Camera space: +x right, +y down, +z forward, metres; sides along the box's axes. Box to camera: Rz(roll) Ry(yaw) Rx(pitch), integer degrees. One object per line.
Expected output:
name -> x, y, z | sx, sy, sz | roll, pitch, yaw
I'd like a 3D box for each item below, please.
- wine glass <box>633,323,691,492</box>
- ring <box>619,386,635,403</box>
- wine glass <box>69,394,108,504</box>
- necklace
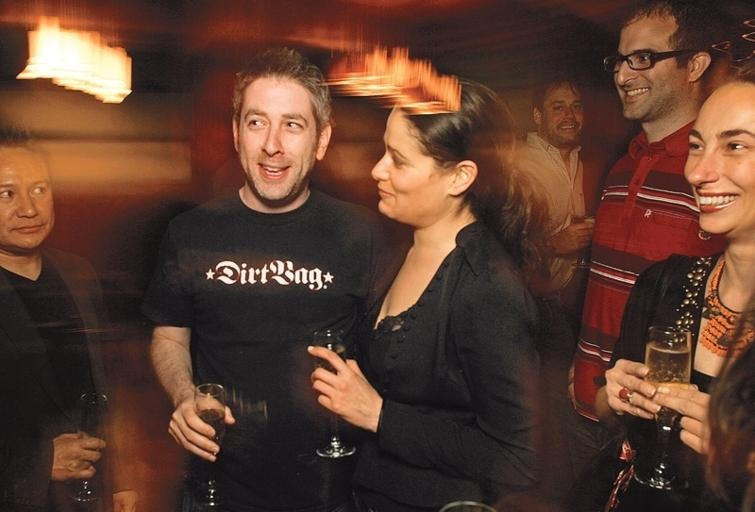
wine glass -> 1.345, 0.705, 3.401 | 0.202, 0.778, 0.286 | 8, 13, 22
ring -> 1.151, 0.653, 3.360 | 0.048, 0.058, 0.030 | -20, -32, 36
wine glass -> -1.406, 0.927, 3.502 | 0.161, 0.565, 0.289 | -1, 12, -18
necklace -> 1.565, 0.244, 3.281 | 0.269, 0.390, 0.110 | 6, 10, 29
